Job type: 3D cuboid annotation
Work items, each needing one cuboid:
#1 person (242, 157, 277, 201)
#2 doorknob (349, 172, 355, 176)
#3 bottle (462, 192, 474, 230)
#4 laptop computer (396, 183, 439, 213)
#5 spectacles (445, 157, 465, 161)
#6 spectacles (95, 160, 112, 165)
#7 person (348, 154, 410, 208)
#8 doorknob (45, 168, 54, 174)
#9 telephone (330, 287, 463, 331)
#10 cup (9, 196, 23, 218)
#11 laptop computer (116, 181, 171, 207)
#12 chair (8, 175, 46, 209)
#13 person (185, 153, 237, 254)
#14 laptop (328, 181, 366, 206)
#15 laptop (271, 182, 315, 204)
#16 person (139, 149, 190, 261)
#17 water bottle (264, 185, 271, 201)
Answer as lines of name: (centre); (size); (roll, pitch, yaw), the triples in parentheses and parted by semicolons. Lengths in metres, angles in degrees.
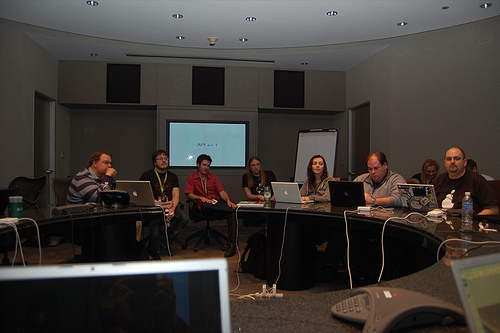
person: (0.102, 0.197, 5.494); (0.444, 0.672, 0.731); (-3, -11, 6)
doorknob: (1.941, 0.129, 6.956); (0.109, 0.054, 0.078); (-4, -11, 10)
bottle: (1.584, 0.321, 2.670); (0.080, 0.278, 0.294); (-7, -12, 30)
laptop computer: (1.530, 0.291, 3.352); (0.241, 0.235, 0.328); (-10, 2, -29)
spectacles: (1.954, -0.074, 3.480); (0.146, 0.032, 0.053); (-6, -11, 20)
spectacles: (-1.553, -0.044, 3.929); (0.063, 0.035, 0.146); (-9, -13, 36)
person: (1.355, 0.188, 3.954); (0.464, 0.609, 0.862); (-8, 4, -24)
doorknob: (-3.480, 0.072, 6.317); (0.074, 0.098, 0.146); (-2, -11, 1)
telephone: (0.598, 0.580, 1.493); (0.297, 0.074, 0.224); (0, -8, 2)
cup: (-1.834, 0.315, 2.858); (0.102, 0.168, 0.094); (-1, -10, 0)
laptop computer: (-1.108, 0.264, 3.579); (0.434, 0.270, 0.234); (0, -11, -10)
chair: (-2.645, 0.248, 4.333); (0.384, 0.435, 1.084); (5, -13, -32)
person: (-0.471, 0.501, 5.147); (0.871, 1.398, 0.530); (-10, -13, 39)
laptop: (0.947, 0.254, 3.623); (0.347, 0.238, 0.247); (-1, 2, 40)
laptop: (0.426, 0.283, 3.932); (0.400, 0.253, 0.336); (-4, -11, 11)
person: (-1.086, 0.434, 4.770); (0.670, 1.461, 1.758); (2, -11, -16)
water bottle: (0.174, 0.270, 3.743); (0.056, 0.157, 0.144); (-1, -10, 0)
